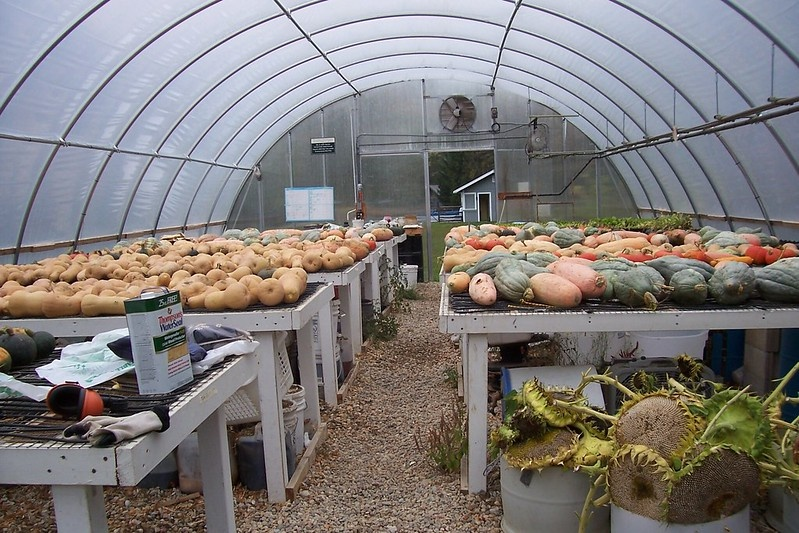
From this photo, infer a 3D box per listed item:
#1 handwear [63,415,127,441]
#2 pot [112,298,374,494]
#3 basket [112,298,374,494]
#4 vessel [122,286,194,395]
[{"bbox_3d":[-1.397,0.726,2.331,0.125,0.056,0.133,-10,-6,7],"label":"handwear"},{"bbox_3d":[-1.131,1.114,4.898,1.359,0.985,1.428,-2,1,0],"label":"pot"},{"bbox_3d":[-0.928,1.088,4.908,1.359,0.985,1.428,-2,1,4],"label":"basket"},{"bbox_3d":[-1.217,0.402,2.655,0.277,0.521,0.145,-7,13,-31],"label":"vessel"}]
